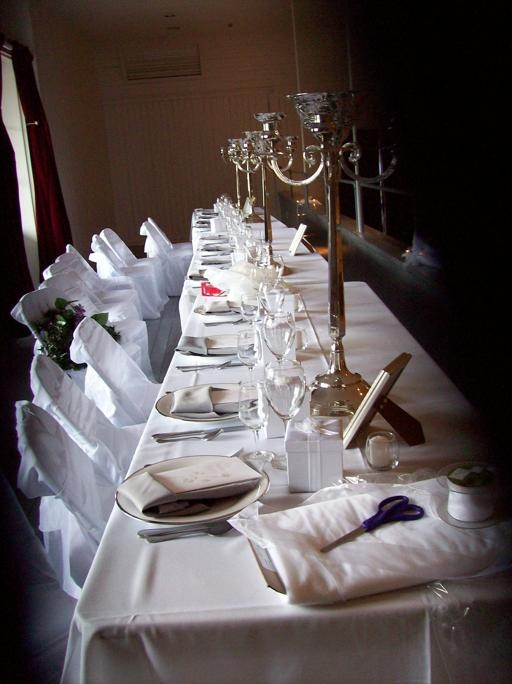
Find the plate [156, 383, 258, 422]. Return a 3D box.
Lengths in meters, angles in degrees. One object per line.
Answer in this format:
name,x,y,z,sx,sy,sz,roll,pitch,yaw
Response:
plate,-0.168,0.179,1.492,0.195,0.040,0.156,-5,18,2

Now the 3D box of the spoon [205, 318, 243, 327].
spoon,-0.141,-0.090,2.389,0.178,0.018,0.021,-7,-14,-17

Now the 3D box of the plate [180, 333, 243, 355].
plate,-0.176,0.014,1.967,0.148,0.024,0.108,-4,18,1

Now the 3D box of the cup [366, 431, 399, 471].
cup,0.277,0.249,1.193,0.083,0.074,0.080,-2,6,0

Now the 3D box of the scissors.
scissors,0.198,0.296,0.893,0.180,0.022,0.070,-12,17,-27

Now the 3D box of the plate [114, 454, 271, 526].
plate,-0.128,0.299,1.046,0.156,0.036,0.163,-10,16,-22

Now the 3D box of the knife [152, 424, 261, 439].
knife,-0.121,0.240,1.382,0.220,0.015,0.055,-5,25,-4
